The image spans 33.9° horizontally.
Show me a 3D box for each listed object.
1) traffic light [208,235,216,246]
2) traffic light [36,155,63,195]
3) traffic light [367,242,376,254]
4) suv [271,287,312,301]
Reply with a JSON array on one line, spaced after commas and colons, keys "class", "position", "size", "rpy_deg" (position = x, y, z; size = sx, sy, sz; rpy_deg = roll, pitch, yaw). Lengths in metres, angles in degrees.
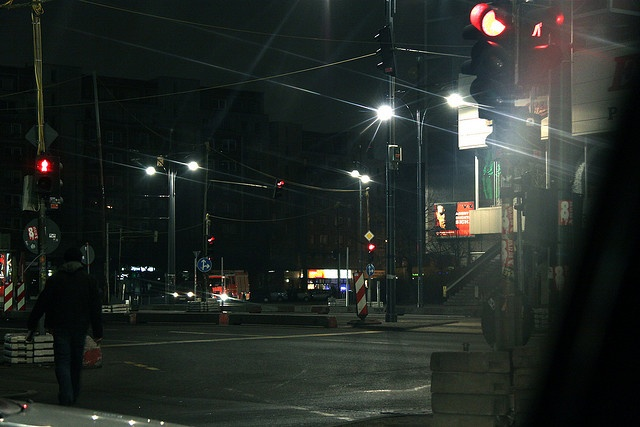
[{"class": "traffic light", "position": [-6.273, 1.500, 60.109], "size": [0.393, 0.567, 0.519], "rpy_deg": [-4, -17, 22]}, {"class": "traffic light", "position": [-8.762, -1.194, 33.898], "size": [0.830, 1.434, 0.816], "rpy_deg": [4, -22, -18]}, {"class": "traffic light", "position": [2.881, 1.859, 58.135], "size": [0.434, 0.492, 0.109], "rpy_deg": [-2, -2, 22]}, {"class": "suv", "position": [-2.466, 6.846, 91.751], "size": [2.655, 0.938, 1.317], "rpy_deg": [5, -5, -19]}]
